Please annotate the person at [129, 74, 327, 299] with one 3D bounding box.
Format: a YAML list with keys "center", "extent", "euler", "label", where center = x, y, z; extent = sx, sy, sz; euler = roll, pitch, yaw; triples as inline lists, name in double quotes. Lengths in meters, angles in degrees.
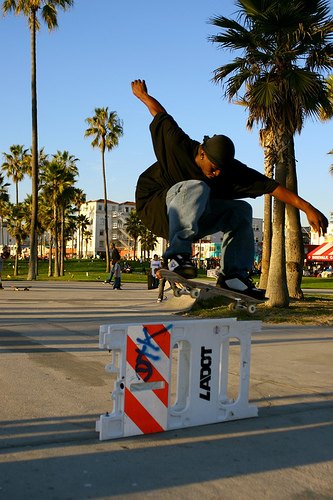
- center: [0.414, -0.545, 4.754]
  extent: [1.155, 1.495, 1.347]
  euler: [0, 0, -42]
  label: "person"

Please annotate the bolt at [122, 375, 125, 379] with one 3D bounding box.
- center: [-0.274, 0.794, 3.434]
  extent: [0.017, 0.017, 0.005]
  euler: [0, 0, -20]
  label: "bolt"

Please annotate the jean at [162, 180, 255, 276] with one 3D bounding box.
- center: [0.304, -0.151, 4.790]
  extent: [0.848, 0.801, 0.681]
  euler: [11, -14, -33]
  label: "jean"

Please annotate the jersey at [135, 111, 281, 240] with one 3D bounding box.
- center: [0.272, -0.655, 4.728]
  extent: [1.073, 0.851, 0.606]
  euler: [0, 0, -5]
  label: "jersey"

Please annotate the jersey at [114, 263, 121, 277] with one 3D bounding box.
- center: [-2.022, 0.818, 22.138]
  extent: [0.208, 0.369, 0.459]
  euler: [0, 0, -9]
  label: "jersey"
